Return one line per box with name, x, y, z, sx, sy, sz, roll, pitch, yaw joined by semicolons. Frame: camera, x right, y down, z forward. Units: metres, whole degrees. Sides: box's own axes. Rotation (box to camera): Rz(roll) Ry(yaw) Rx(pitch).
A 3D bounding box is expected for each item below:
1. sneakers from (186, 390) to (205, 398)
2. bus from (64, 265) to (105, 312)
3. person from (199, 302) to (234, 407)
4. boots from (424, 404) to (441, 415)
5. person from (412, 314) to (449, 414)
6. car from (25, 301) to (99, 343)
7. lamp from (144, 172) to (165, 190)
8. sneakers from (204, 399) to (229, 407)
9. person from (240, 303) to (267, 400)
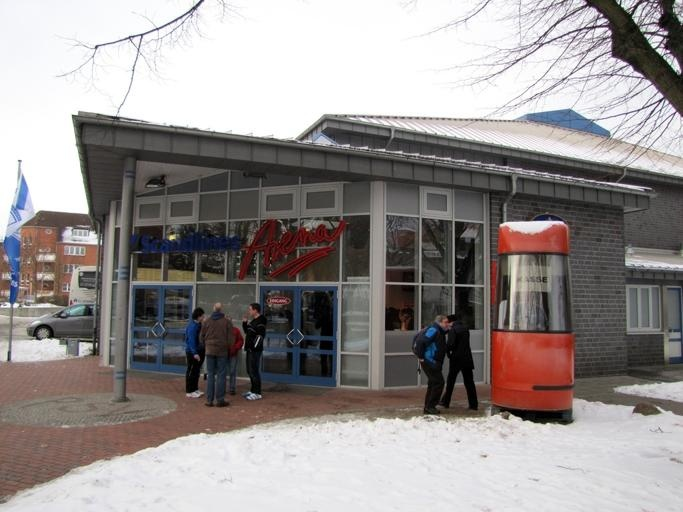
sneakers;-3.223;3.092;12.351;0.326;0.121;0.126;-1;-5;3
bus;-13.821;1.535;30.720;1.613;1.849;4.561;10;-3;-23
person;-2.621;2.083;11.851;0.660;2.101;0.965;0;-2;-13
boots;1.767;2.982;10.711;0.364;0.148;0.347;0;-2;-7
person;1.798;2.136;10.920;0.548;1.896;0.786;-1;-2;32
car;-11.667;3.015;25.287;4.214;1.518;1.984;1;-6;2
lamp;-4.998;-2.055;15.222;0.768;0.293;0.359;-1;-2;33
sneakers;-2.530;3.064;11.467;0.353;0.116;0.177;0;-4;-9
person;-1.982;2.120;12.754;0.482;2.091;1.409;0;-2;-9
